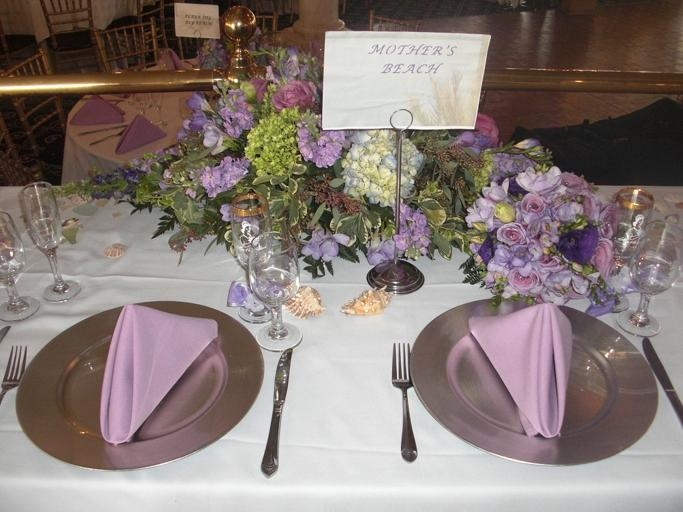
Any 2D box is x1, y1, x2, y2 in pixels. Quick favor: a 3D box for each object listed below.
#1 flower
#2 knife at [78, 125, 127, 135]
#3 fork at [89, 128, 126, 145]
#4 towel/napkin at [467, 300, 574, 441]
[{"bbox_3d":[0.094,-0.159,1.395,1.048,0.778,0.441,16,57,26],"label":"flower"},{"bbox_3d":[-1.162,-0.615,2.628,0.251,0.028,0.060,-7,14,-13],"label":"knife"},{"bbox_3d":[-1.111,-0.573,2.578,0.160,0.027,0.056,-27,63,-20],"label":"fork"},{"bbox_3d":[0.399,0.242,1.162,0.196,0.088,0.265,0,66,11],"label":"towel/napkin"}]
